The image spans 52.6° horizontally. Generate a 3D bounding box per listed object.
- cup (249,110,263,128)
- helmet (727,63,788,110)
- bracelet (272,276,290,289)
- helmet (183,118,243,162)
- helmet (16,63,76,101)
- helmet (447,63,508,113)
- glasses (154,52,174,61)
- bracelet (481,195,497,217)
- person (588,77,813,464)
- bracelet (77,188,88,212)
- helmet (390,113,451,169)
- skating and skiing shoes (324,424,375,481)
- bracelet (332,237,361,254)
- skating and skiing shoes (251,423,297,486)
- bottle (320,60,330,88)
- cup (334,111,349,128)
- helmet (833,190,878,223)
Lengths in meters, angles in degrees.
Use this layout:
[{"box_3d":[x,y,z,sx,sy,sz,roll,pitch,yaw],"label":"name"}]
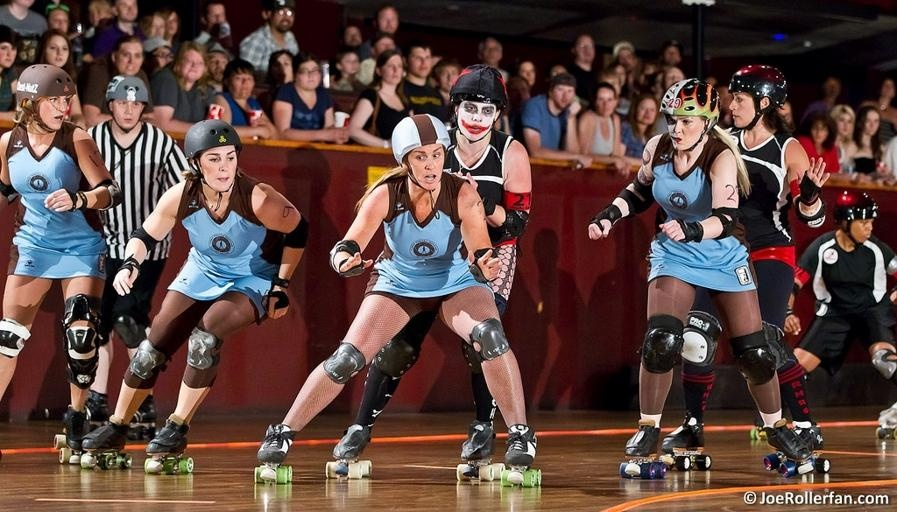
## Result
[{"box_3d":[-2.027,-1.451,9.702,0.174,0.178,0.168,-2,-1,0],"label":"cup"},{"box_3d":[2.531,-1.392,7.521,0.523,0.369,0.396,1,23,-5],"label":"helmet"},{"box_3d":[-1.236,0.194,6.758,0.085,0.051,0.111,20,-4,14],"label":"bracelet"},{"box_3d":[-1.748,-0.820,6.744,0.377,0.362,0.480,-12,6,-37],"label":"helmet"},{"box_3d":[-3.137,-1.331,7.136,0.482,0.288,0.351,6,14,22],"label":"helmet"},{"box_3d":[0.244,-1.302,7.155,0.494,0.349,0.656,10,0,-3],"label":"helmet"},{"box_3d":[-3.078,-2.154,9.888,0.199,0.062,0.199,-1,4,-33],"label":"glasses"},{"box_3d":[0.302,-0.376,6.945,0.115,0.070,0.148,6,-8,6],"label":"bracelet"},{"box_3d":[1.840,0.104,6.853,1.380,2.811,0.777,3,-6,-20],"label":"person"},{"box_3d":[-2.776,-0.420,6.951,0.095,0.119,0.066,-2,-5,-1],"label":"bracelet"},{"box_3d":[-0.199,-0.821,6.566,0.428,0.351,0.473,-17,6,-22],"label":"helmet"},{"box_3d":[-0.711,1.448,6.639,0.194,0.241,0.561,0,-6,4],"label":"skating and skiing shoes"},{"box_3d":[-0.702,-0.068,6.331,0.136,0.070,0.105,2,-5,-15],"label":"bracelet"},{"box_3d":[-1.224,1.392,6.450,0.258,0.422,0.274,2,-6,-11],"label":"skating and skiing shoes"},{"box_3d":[-1.390,-2.060,10.376,0.099,0.406,0.338,2,-6,-8],"label":"bottle"},{"box_3d":[-1.145,-1.468,9.865,0.198,0.187,0.194,3,8,0],"label":"cup"},{"box_3d":[4.207,-0.510,9.496,0.401,0.300,0.311,-6,10,30],"label":"helmet"}]
